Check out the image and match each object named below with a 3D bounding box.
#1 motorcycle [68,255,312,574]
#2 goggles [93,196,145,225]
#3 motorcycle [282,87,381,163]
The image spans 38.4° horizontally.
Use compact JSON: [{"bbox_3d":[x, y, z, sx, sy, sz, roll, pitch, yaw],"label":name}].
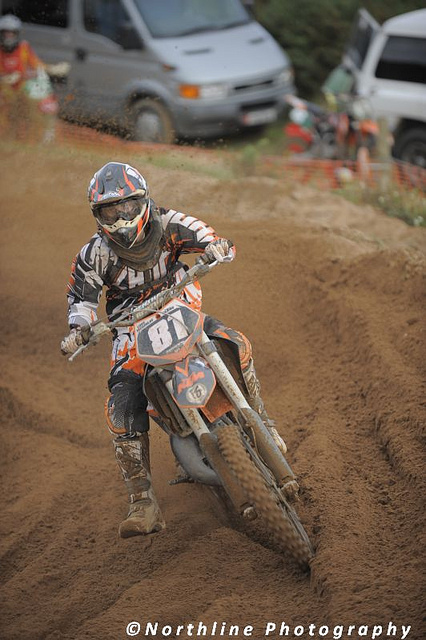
[{"bbox_3d":[0.043,0.519,2.788,0.653,1.353,1.119,-24,38,-30],"label":"motorcycle"},{"bbox_3d":[-0.447,-0.525,2.881,0.156,0.177,0.088,-18,74,0],"label":"goggles"},{"bbox_3d":[0.903,-1.477,4.726,1.051,0.511,0.337,1,-3,9],"label":"motorcycle"}]
